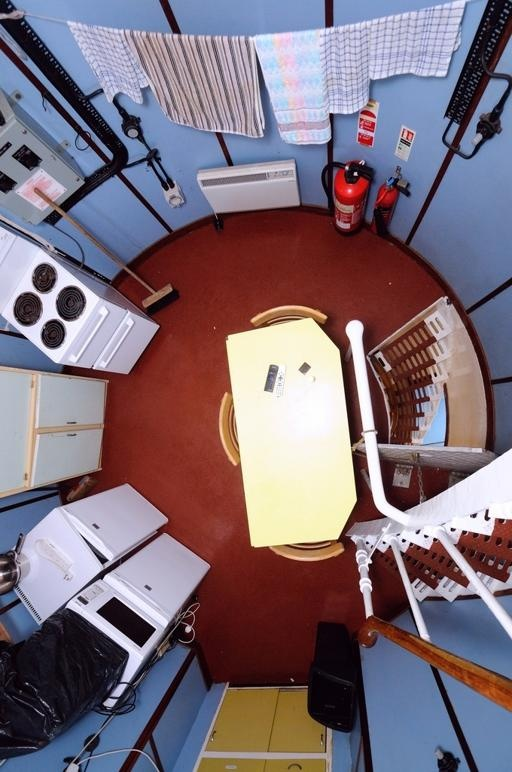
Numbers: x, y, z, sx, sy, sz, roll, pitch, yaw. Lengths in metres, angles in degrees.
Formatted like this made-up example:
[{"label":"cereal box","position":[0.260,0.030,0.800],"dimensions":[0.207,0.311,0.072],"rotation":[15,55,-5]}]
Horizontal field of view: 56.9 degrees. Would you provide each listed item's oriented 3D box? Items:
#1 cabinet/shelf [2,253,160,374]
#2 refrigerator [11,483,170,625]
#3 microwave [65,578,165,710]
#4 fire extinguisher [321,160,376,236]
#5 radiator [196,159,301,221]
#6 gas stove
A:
[{"label":"cabinet/shelf","position":[-1.228,-0.481,3.242],"dimensions":[0.530,0.841,0.458],"rotation":[33,89,5]},{"label":"refrigerator","position":[-1.285,0.961,3.480],"dimensions":[0.653,1.145,1.023],"rotation":[36,115,-11]},{"label":"microwave","position":[-0.802,1.430,2.613],"dimensions":[0.465,0.655,0.445],"rotation":[33,92,6]},{"label":"fire extinguisher","position":[0.613,-1.273,3.229],"dimensions":[0.338,0.875,0.227],"rotation":[5,83,11]},{"label":"radiator","position":[-0.026,-1.374,3.317],"dimensions":[0.650,0.589,0.112],"rotation":[-3,82,10]},{"label":"gas stove","position":[-1.290,-0.497,3.035],"dimensions":[0.594,0.267,0.498],"rotation":[37,90,12]}]
